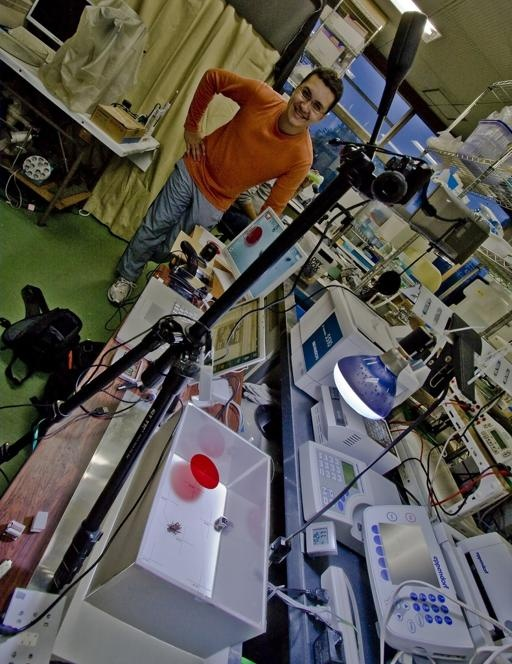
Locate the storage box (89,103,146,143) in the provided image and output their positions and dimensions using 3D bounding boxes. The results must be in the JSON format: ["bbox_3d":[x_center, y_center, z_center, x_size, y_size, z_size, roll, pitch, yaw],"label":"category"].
[{"bbox_3d":[-0.822,-1.194,2.440,0.293,0.076,0.320,48,34,6],"label":"storage box"}]

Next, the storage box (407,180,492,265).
[{"bbox_3d":[0.778,-0.426,1.712,0.283,0.247,0.207,42,27,10],"label":"storage box"}]

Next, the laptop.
[{"bbox_3d":[-0.205,-0.039,1.494,0.311,0.381,0.452,46,47,-54],"label":"laptop"}]

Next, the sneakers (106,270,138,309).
[{"bbox_3d":[-0.804,-0.262,2.563,0.086,0.092,0.239,38,36,-24],"label":"sneakers"}]

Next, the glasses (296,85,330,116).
[{"bbox_3d":[0.246,-1.011,1.859,0.093,0.035,0.129,36,8,-12],"label":"glasses"}]
